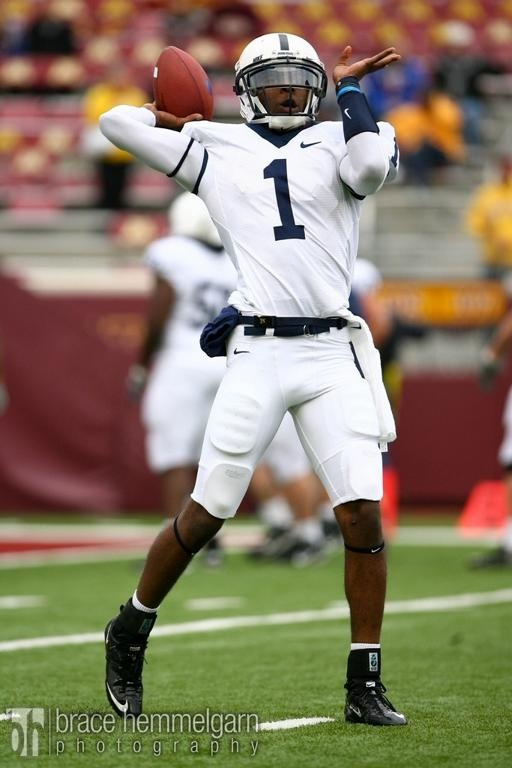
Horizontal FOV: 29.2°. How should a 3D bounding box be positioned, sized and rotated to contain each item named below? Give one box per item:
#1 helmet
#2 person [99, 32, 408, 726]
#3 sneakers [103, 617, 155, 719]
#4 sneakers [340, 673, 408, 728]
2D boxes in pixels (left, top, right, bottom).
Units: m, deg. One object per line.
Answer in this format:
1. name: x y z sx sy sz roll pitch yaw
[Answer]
1. helmet: 0.037 -0.812 2.644 0.265 0.220 0.283 -1 10 -9
2. person: -0.015 -0.049 2.459 0.712 1.601 0.954 -2 20 -6
3. sneakers: -0.335 0.713 2.455 0.083 0.216 0.107 -1 -20 -23
4. sneakers: 0.282 0.763 2.330 0.128 0.097 0.143 -3 19 -11
